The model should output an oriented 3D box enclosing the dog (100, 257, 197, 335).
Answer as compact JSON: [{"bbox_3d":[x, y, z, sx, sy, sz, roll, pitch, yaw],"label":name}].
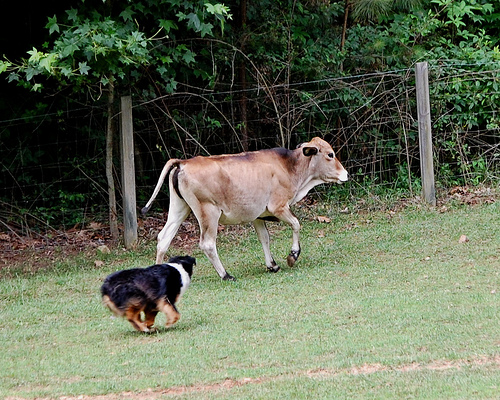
[{"bbox_3d":[-0.997,0.949,7.462,1.086,0.892,0.415,-2,11,-26],"label":"dog"}]

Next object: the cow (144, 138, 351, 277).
[{"bbox_3d":[0.023,0.102,9.792,2.849,1.824,0.816,-5,5,-22],"label":"cow"}]
